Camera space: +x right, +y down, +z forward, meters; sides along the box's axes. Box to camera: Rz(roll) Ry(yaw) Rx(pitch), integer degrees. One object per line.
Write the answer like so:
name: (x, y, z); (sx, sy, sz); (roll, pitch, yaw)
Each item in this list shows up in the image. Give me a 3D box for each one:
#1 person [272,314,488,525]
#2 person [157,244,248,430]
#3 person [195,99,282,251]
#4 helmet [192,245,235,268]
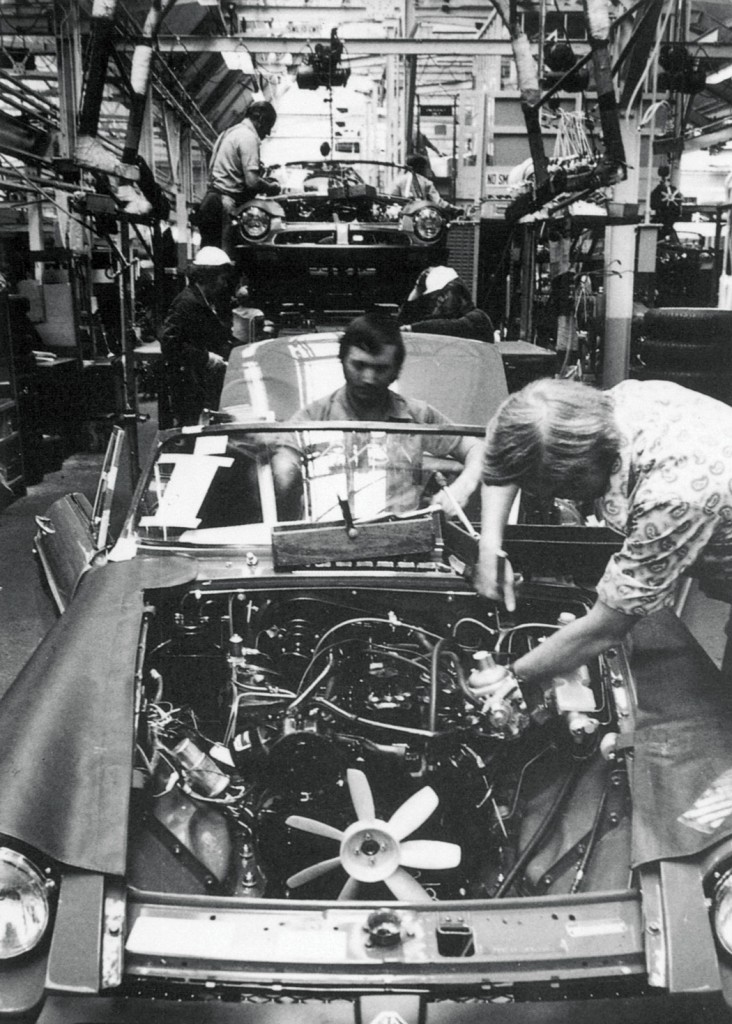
person: (0.046, -0.315, 2.650); (0.605, 0.559, 0.920); (1, 14, 5)
person: (-1.094, -1.149, 5.561); (0.445, 1.115, 1.072); (-2, 15, -7)
person: (-1.033, -2.772, 6.867); (0.592, 1.332, 1.722); (-2, 15, -5)
helmet: (-1.000, -1.688, 5.606); (0.171, 0.094, 0.201); (1, 18, 1)
